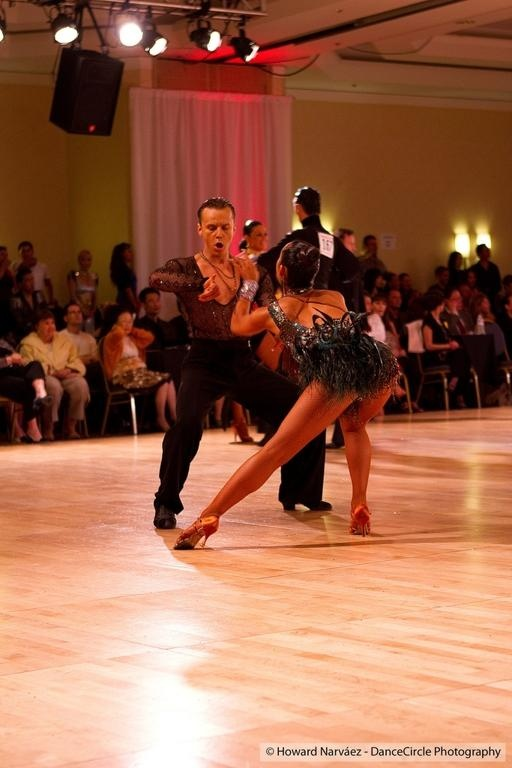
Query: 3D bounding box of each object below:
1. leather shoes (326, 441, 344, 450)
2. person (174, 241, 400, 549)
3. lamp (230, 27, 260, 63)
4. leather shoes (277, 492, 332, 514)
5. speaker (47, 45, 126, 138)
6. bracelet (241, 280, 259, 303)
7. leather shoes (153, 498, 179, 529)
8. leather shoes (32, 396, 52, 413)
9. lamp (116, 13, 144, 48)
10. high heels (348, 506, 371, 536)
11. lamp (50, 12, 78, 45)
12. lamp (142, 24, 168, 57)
[{"bbox_3d":[0.847,0.667,7.108,0.233,0.087,0.073,11,-9,-13],"label":"leather shoes"},{"bbox_3d":[0.213,0.032,3.228,1.014,1.557,0.477,3,-2,-6],"label":"person"},{"bbox_3d":[-0.203,-4.903,9.332,0.387,0.472,0.275,4,-2,-21],"label":"lamp"},{"bbox_3d":[0.312,0.747,4.119,0.356,0.133,0.114,-5,3,0],"label":"leather shoes"},{"bbox_3d":[-2.250,-3.887,8.598,0.729,0.759,0.619,4,-3,-30],"label":"speaker"},{"bbox_3d":[-0.034,-0.476,3.373,0.118,0.107,0.104,3,-9,9],"label":"bracelet"},{"bbox_3d":[-0.494,0.726,3.565,0.095,0.113,0.171,1,-23,-5],"label":"leather shoes"},{"bbox_3d":[-2.547,0.231,7.643,0.308,0.129,0.111,-35,12,38],"label":"leather shoes"},{"bbox_3d":[-1.703,-4.754,8.749,0.353,0.437,0.300,3,-2,-14],"label":"lamp"},{"bbox_3d":[0.536,0.703,3.350,0.073,0.193,0.094,-2,43,-2],"label":"high heels"},{"bbox_3d":[-2.461,-4.504,8.393,0.405,0.404,0.327,0,16,-13],"label":"lamp"},{"bbox_3d":[-1.413,-4.726,8.940,0.303,0.403,0.262,3,-2,-15],"label":"lamp"}]
